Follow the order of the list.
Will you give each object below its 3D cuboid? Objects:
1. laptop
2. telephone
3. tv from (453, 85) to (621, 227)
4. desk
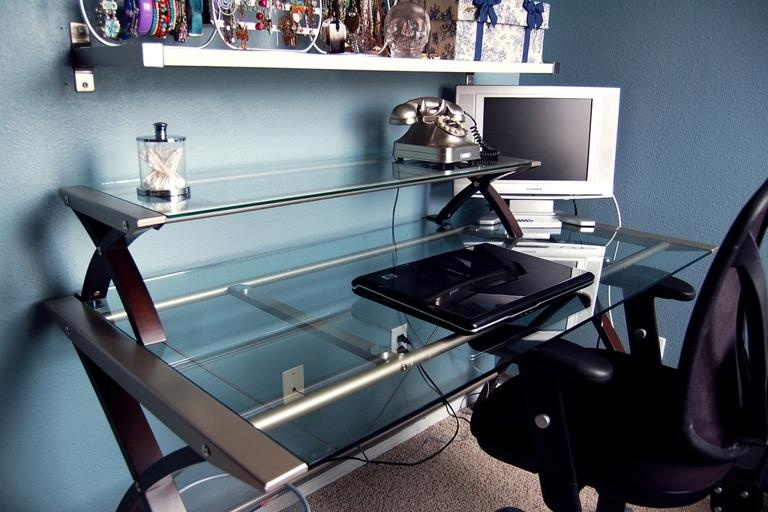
[{"bbox_3d":[0.234,0.080,1.604,0.418,0.040,0.302,-13,20,-41],"label":"laptop"},{"bbox_3d":[0.199,-0.451,1.957,0.328,0.219,0.314,9,21,20],"label":"telephone"},{"bbox_3d":[0.615,-0.417,2.262,0.604,0.480,0.175,-4,8,-21],"label":"tv"},{"bbox_3d":[-0.017,0.189,1.673,1.620,0.793,0.925,-15,22,-32],"label":"desk"}]
